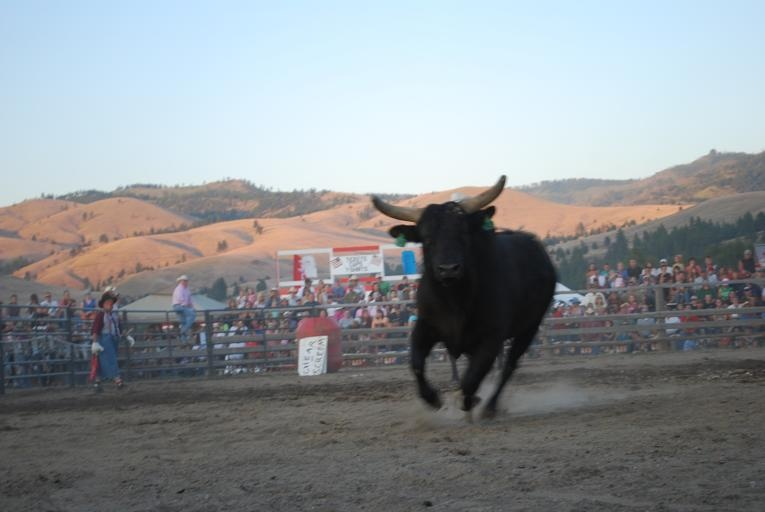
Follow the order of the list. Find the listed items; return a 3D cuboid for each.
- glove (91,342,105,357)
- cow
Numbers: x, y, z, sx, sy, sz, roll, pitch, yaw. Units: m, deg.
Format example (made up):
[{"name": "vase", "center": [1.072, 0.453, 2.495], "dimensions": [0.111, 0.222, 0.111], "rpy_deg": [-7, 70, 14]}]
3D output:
[{"name": "glove", "center": [-6.352, 2.020, 17.670], "dimensions": [0.283, 0.314, 0.227], "rpy_deg": [-2, -5, -25]}, {"name": "cow", "center": [1.368, 0.638, 11.445], "dimensions": [1.527, 3.315, 2.617], "rpy_deg": [-9, -7, 41]}]
